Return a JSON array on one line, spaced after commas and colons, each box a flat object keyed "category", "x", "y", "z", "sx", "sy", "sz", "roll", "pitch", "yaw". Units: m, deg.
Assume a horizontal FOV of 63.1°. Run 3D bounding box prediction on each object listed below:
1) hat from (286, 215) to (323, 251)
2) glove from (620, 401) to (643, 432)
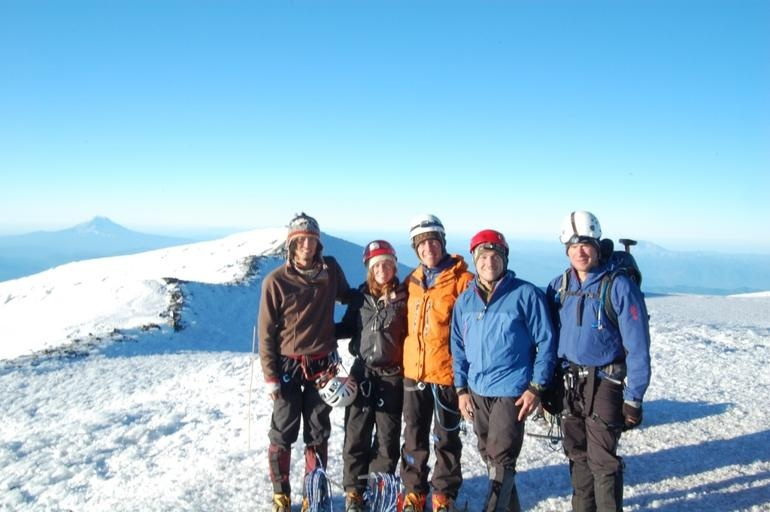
[{"category": "hat", "x": -1.889, "y": -0.486, "z": 14.382, "sx": 0.690, "sy": 0.835, "sz": 0.804, "roll": 2, "pitch": -22, "yaw": -13}, {"category": "glove", "x": 5.534, "y": 3.597, "z": 13.966, "sx": 0.447, "sy": 0.563, "sz": 0.600, "roll": 3, "pitch": -2, "yaw": -10}]
